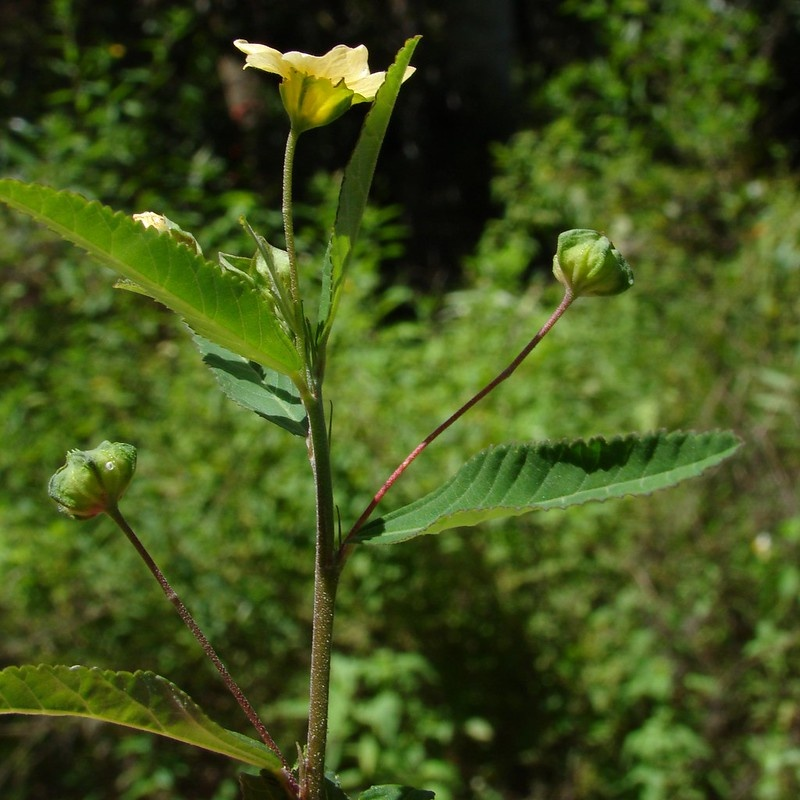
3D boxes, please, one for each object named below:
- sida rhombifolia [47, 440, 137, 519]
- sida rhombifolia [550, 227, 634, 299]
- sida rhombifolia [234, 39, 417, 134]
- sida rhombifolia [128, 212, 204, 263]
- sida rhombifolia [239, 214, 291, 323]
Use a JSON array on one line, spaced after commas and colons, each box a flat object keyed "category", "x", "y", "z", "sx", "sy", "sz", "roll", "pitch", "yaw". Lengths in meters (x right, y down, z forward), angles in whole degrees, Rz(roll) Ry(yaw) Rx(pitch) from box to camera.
[{"category": "sida rhombifolia", "x": -0.484, "y": 0.130, "z": 1.727, "sx": 0.112, "sy": 0.115, "sz": 0.119, "roll": 11, "pitch": 34, "yaw": 7}, {"category": "sida rhombifolia", "x": 0.341, "y": -0.223, "z": 1.812, "sx": 0.143, "sy": 0.117, "sz": 0.065, "roll": -8, "pitch": 32, "yaw": 37}, {"category": "sida rhombifolia", "x": -0.112, "y": -0.493, "z": 1.733, "sx": 0.248, "sy": 0.078, "sz": 0.193, "roll": 4, "pitch": -2, "yaw": 8}, {"category": "sida rhombifolia", "x": -0.366, "y": -0.264, "z": 1.707, "sx": 0.102, "sy": 0.069, "sz": 0.151, "roll": -2, "pitch": 30, "yaw": -11}, {"category": "sida rhombifolia", "x": -0.237, "y": -0.203, "z": 1.737, "sx": 0.071, "sy": 0.217, "sz": 0.029, "roll": -32, "pitch": 72, "yaw": -26}]
